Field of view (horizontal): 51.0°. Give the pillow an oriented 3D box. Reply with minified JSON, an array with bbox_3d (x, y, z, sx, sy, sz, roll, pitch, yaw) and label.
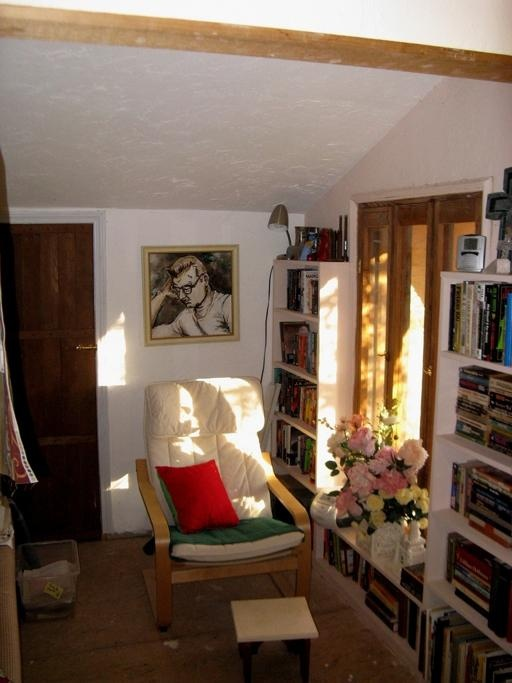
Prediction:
[{"bbox_3d":[-0.308,0.796,2.746,0.294,0.271,0.312,-3,5,-32],"label":"pillow"}]

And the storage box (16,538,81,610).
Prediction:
[{"bbox_3d":[-1.006,1.157,2.745,0.355,0.356,0.297,0,8,-13],"label":"storage box"}]

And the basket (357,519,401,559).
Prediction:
[{"bbox_3d":[0.568,0.899,2.494,0.175,0.176,0.176,0,2,-17],"label":"basket"}]

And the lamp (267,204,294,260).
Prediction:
[{"bbox_3d":[0.159,-0.711,3.418,0.151,0.354,0.506,-1,4,4],"label":"lamp"}]

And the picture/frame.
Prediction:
[{"bbox_3d":[-0.457,-0.324,3.501,0.633,0.649,0.045,-5,14,-16],"label":"picture/frame"}]

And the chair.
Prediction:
[{"bbox_3d":[-0.204,0.783,2.785,0.752,1.015,0.966,-2,4,-16],"label":"chair"}]
